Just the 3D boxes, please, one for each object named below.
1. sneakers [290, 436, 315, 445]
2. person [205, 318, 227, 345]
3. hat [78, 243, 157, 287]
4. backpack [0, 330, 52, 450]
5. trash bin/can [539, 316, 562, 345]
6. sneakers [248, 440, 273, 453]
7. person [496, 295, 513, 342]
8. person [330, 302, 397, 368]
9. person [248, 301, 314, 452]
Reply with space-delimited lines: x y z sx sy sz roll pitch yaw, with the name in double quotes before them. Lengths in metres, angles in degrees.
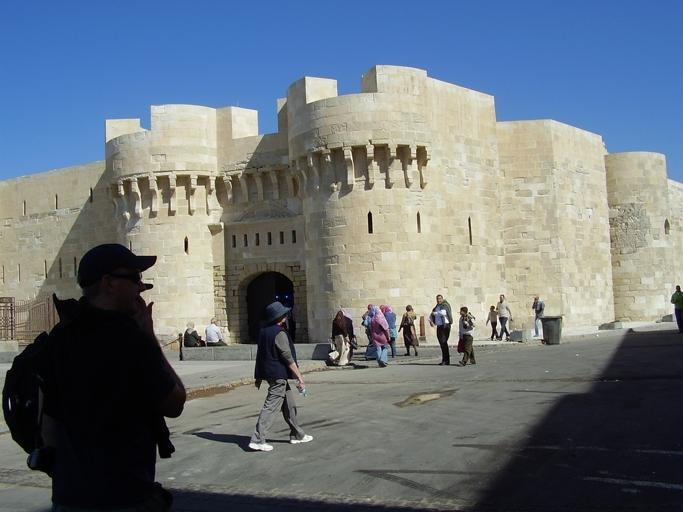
"sneakers" -0.520 2.388 9.305 0.276 0.117 0.106 -7 5 3
"person" -4.074 2.477 23.003 0.587 0.851 1.806 8 -2 -9
"hat" -1.440 0.023 4.543 0.465 0.228 0.289 -14 7 -18
"backpack" -1.968 0.859 4.433 0.238 0.612 0.474 -2 1 -6
"trash bin/can" 6.819 2.340 22.479 0.873 0.830 0.798 2 -9 -12
"sneakers" -1.026 2.409 9.034 0.307 0.134 0.118 2 5 -1
"person" 5.757 2.159 25.188 0.558 1.357 2.445 8 -2 13
"person" 0.666 2.214 19.935 1.528 1.503 0.630 -6 -18 22
"person" -0.752 1.583 9.419 0.824 1.832 0.937 8 -2 -5
